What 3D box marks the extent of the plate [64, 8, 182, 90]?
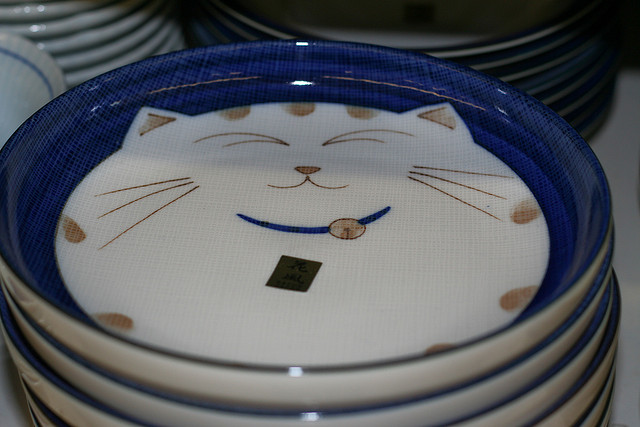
[{"bbox_3d":[-0.274,-0.234,0.978,0.164,0.133,0.110,-8,-63,-5],"label":"plate"}]
